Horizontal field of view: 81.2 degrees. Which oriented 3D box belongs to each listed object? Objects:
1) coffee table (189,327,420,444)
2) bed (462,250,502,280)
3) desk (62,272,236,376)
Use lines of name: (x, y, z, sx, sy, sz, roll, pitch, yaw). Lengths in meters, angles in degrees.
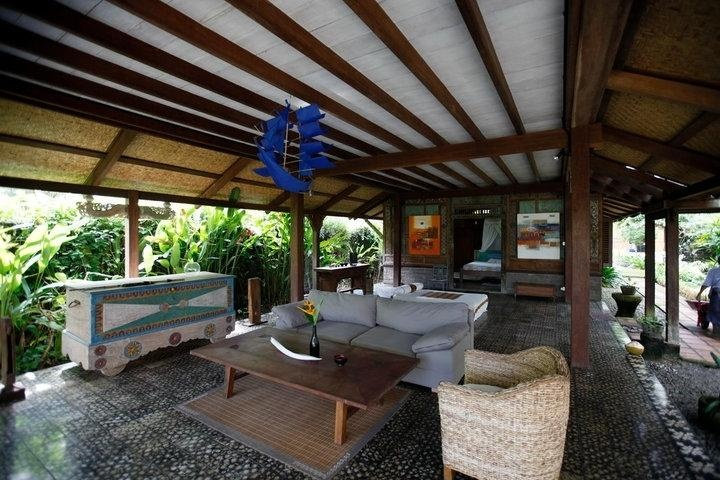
coffee table: (-0.713, 1.640, 5.044, 2.442, 0.523, 1.212, 5, 10, 31)
bed: (3.866, 0.736, 12.864, 1.363, 0.683, 1.669, 0, 4, 23)
desk: (-3.054, 1.129, 6.319, 1.015, 1.002, 2.249, 4, 5, 35)
